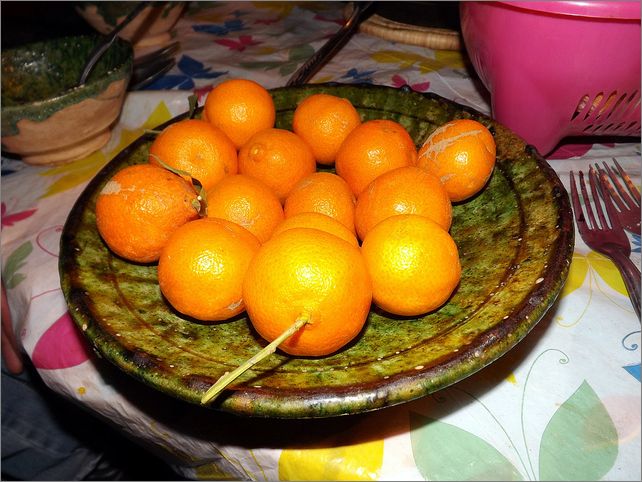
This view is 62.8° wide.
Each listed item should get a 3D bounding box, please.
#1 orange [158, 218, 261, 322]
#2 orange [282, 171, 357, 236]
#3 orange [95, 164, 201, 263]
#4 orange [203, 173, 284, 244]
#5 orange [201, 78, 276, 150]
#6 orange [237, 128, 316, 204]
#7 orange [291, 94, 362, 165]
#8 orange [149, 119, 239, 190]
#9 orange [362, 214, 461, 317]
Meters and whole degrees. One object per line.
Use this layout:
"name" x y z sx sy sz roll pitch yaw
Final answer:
"orange" -0.149 0.037 0.734 0.137 0.135 0.123 20 106 29
"orange" 0.002 -0.060 0.814 0.103 0.094 0.113 2 77 -2
"orange" -0.217 -0.037 0.779 0.168 0.132 0.139 0 64 6
"orange" -0.104 -0.051 0.748 0.099 0.104 0.099 1 73 1
"orange" -0.139 -0.212 0.915 0.117 0.110 0.108 0 93 3
"orange" -0.064 -0.122 0.862 0.116 0.108 0.108 -1 40 6
"orange" 0.006 -0.189 0.900 0.114 0.108 0.104 9 88 8
"orange" -0.203 -0.132 0.865 0.115 0.111 0.117 -29 82 -22
"orange" 0.112 0.045 0.739 0.131 0.130 0.120 37 106 38
